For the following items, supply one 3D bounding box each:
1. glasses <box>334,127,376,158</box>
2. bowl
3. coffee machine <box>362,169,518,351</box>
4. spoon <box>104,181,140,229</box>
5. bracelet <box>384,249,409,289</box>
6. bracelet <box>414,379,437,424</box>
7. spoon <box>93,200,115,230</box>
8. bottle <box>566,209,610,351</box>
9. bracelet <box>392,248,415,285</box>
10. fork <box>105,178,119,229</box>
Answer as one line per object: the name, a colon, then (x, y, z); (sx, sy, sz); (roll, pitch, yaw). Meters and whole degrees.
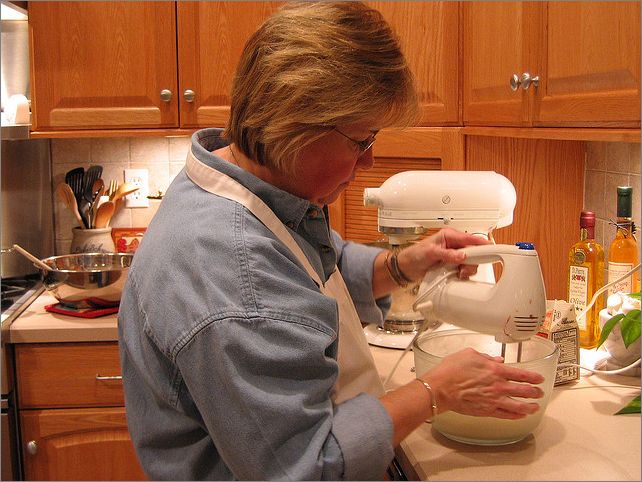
glasses: (0.065, -0.178, 0.990); (0.053, 0.017, 0.051); (31, 18, 19)
bowl: (-0.869, 0.143, 2.033); (0.325, 0.128, 0.341); (4, 10, -1)
coffee machine: (0.351, 0.001, 1.565); (0.420, 0.457, 0.276); (-2, 24, 4)
spoon: (-0.914, -0.198, 2.464); (0.078, 0.051, 0.344); (-7, 39, 12)
bracelet: (0.205, 0.066, 1.415); (0.074, 0.083, 0.031); (-3, 30, 50)
bracelet: (0.187, 0.296, 1.000); (0.017, 0.070, 0.061); (4, -5, -20)
spoon: (-0.945, -0.114, 2.358); (0.051, 0.188, 0.036); (14, 39, -26)
bottle: (0.719, 0.107, 1.469); (0.089, 0.372, 0.151); (3, 5, 28)
bracelet: (0.210, 0.065, 1.380); (0.066, 0.078, 0.027); (15, -28, -20)
fork: (-0.933, -0.183, 2.429); (0.035, 0.251, 0.037); (5, 1, -1)
